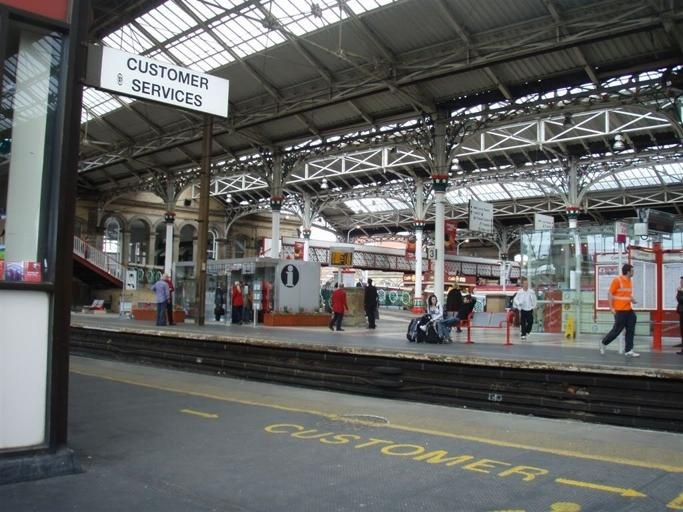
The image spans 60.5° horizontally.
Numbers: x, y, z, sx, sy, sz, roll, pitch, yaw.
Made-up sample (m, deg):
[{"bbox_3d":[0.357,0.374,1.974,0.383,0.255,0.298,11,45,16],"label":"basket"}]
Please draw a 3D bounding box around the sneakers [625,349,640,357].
[{"bbox_3d":[5.999,1.987,11.961,0.305,0.143,0.148,1,-2,-16],"label":"sneakers"}]

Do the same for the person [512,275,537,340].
[{"bbox_3d":[5.620,1.650,17.945,0.600,1.545,1.638,-1,0,17],"label":"person"}]

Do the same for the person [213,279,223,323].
[{"bbox_3d":[-5.684,2.126,27.239,0.421,1.729,0.924,0,0,-15],"label":"person"}]

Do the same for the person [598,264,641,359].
[{"bbox_3d":[5.895,1.147,12.374,0.683,1.809,1.436,-1,0,26],"label":"person"}]

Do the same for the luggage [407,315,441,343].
[{"bbox_3d":[2.250,2.048,15.822,0.545,0.769,0.861,-8,-32,29],"label":"luggage"}]

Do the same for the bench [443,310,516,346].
[{"bbox_3d":[5.600,2.762,22.526,0.912,1.144,1.979,-1,-4,-39],"label":"bench"}]
